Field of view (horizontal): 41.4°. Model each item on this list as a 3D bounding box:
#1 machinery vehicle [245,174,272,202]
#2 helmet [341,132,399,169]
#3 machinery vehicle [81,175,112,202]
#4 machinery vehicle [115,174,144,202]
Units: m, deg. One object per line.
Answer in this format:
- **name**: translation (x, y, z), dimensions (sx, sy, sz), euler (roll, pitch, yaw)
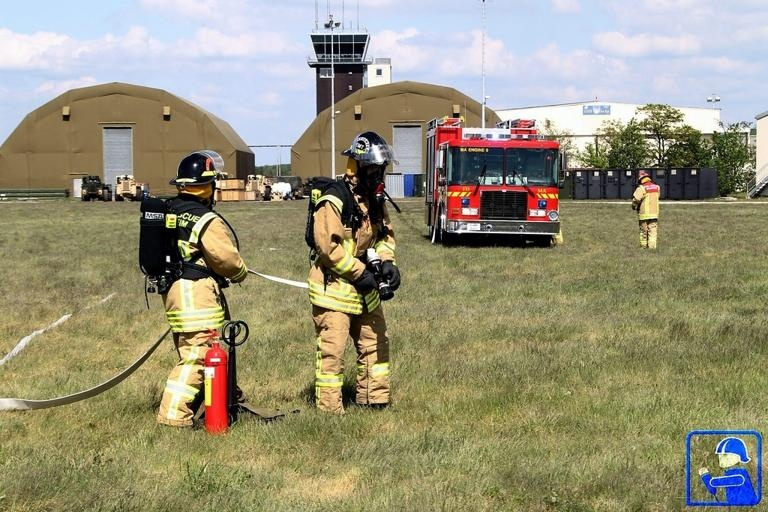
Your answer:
- **machinery vehicle**: translation (-8.280, -4.550, 66.484), dimensions (1.423, 1.548, 2.830), euler (-1, 2, -6)
- **helmet**: translation (-0.172, -1.246, 11.854), dimensions (0.471, 0.282, 0.371), euler (2, 4, 43)
- **machinery vehicle**: translation (-16.858, -4.012, 59.476), dimensions (1.230, 1.135, 2.279), euler (0, 1, -11)
- **machinery vehicle**: translation (-14.545, -3.833, 57.857), dimensions (1.329, 1.349, 3.891), euler (-6, 15, -16)
